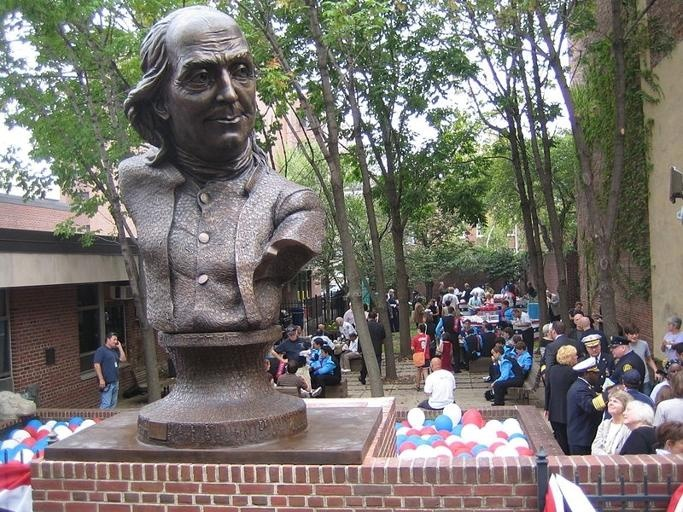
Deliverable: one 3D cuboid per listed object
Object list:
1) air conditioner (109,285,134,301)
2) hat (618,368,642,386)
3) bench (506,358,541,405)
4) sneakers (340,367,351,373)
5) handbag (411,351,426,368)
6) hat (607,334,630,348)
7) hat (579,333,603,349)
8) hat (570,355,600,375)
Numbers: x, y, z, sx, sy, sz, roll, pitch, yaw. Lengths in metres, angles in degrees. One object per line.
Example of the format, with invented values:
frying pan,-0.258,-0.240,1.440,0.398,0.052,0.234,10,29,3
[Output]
air conditioner,-7.115,1.167,19.349,0.820,0.513,0.833,-2,-3,25
hat,4.079,1.699,8.372,0.220,0.256,0.282,-7,-3,33
bench,4.570,3.132,14.969,0.871,0.953,2.996,-6,-3,17
sneakers,0.144,3.890,20.397,0.123,0.159,0.370,2,-16,-13
handbag,2.202,2.857,16.577,0.361,0.357,0.328,-5,-2,-9
hat,4.978,1.481,10.574,0.305,0.146,0.245,-4,-5,-19
hat,4.337,1.451,10.334,0.267,0.199,0.467,-6,-3,17
hat,3.798,1.692,9.272,0.321,0.145,0.279,-6,2,15
